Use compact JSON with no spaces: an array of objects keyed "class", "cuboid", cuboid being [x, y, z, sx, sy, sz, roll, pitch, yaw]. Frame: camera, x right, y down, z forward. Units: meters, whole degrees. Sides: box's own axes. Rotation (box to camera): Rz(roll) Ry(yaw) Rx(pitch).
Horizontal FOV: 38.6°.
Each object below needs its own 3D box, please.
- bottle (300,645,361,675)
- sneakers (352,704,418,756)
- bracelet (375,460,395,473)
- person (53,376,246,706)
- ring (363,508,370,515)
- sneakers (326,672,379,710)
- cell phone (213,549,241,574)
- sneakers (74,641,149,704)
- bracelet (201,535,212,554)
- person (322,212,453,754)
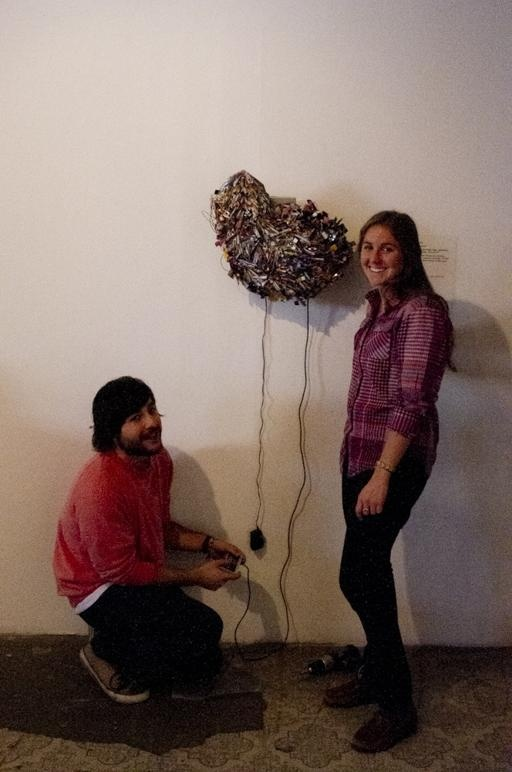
[{"class":"bottle","cuboid":[0.239,0.849,2.261,0.126,0.028,0.069,-6,14,-24]},{"class":"sneakers","cuboid":[0.334,0.903,1.957,0.203,0.078,0.077,-14,9,-21]},{"class":"bracelet","cuboid":[0.329,0.205,1.868,0.050,0.027,0.048,13,-2,10]},{"class":"person","cuboid":[-0.326,0.426,2.126,0.411,0.908,0.379,13,19,41]},{"class":"ring","cuboid":[0.283,0.328,1.911,0.016,0.019,0.008,5,32,20]},{"class":"sneakers","cuboid":[0.264,0.865,2.066,0.195,0.065,0.060,0,18,-8]},{"class":"cell phone","cuboid":[-0.090,0.534,2.225,0.075,0.037,0.033,6,51,47]},{"class":"sneakers","cuboid":[-0.420,0.841,2.154,0.237,0.079,0.087,29,19,25]},{"class":"bracelet","cuboid":[-0.155,0.497,2.290,0.046,0.051,0.024,1,-2,-19]},{"class":"person","cuboid":[0.348,0.227,1.981,0.301,1.377,0.555,4,15,14]}]
